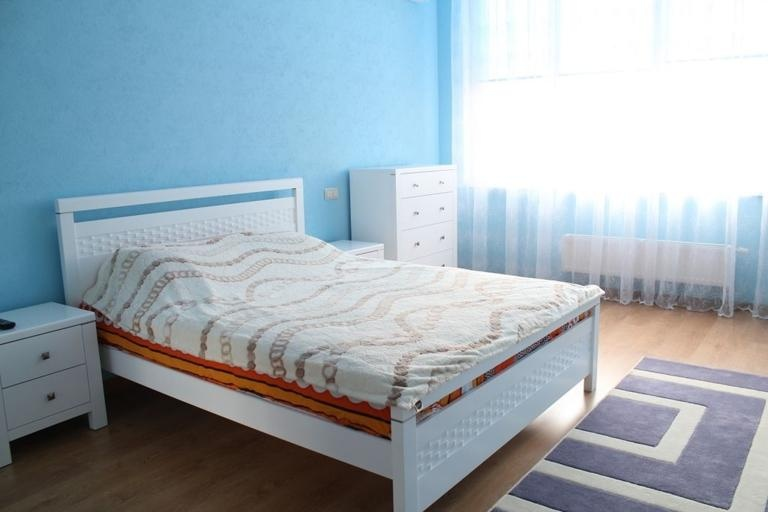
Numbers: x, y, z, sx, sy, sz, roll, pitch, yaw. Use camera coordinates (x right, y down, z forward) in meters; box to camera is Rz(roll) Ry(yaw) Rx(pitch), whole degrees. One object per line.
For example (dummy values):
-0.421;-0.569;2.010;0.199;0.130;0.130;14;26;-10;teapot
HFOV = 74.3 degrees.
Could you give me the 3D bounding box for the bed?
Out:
-0.334;0.324;3.361;2.822;1.562;2.188;6;15;37;bed
